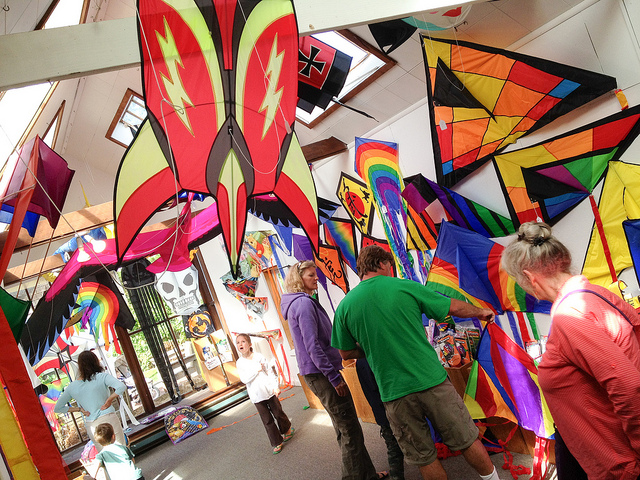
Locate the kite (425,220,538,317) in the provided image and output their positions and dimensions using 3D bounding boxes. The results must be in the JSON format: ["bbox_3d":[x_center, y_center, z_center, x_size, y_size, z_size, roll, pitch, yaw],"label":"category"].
[{"bbox_3d":[1.092,0.234,3.218,0.558,0.718,0.237,-9,16,33],"label":"kite"}]

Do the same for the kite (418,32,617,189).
[{"bbox_3d":[1.444,-0.953,3.231,1.248,1.118,0.077,-21,26,41],"label":"kite"}]

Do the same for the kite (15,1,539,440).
[{"bbox_3d":[-1.558,0.376,6.304,5.927,4.543,0.148,-6,-9,4],"label":"kite"}]

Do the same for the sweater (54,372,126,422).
[{"bbox_3d":[-2.626,1.809,5.249,0.808,0.548,0.295,-13,11,-11],"label":"sweater"}]

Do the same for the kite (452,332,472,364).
[{"bbox_3d":[1.083,0.838,3.463,0.030,0.240,0.125,12,-35,-28],"label":"kite"}]

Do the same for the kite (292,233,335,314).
[{"bbox_3d":[-0.091,0.471,5.876,0.339,1.163,0.378,-11,8,11],"label":"kite"}]

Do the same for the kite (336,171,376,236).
[{"bbox_3d":[0.385,-0.404,4.977,0.011,0.570,0.785,-6,-18,31],"label":"kite"}]

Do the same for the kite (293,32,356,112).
[{"bbox_3d":[-0.082,-1.700,4.408,0.724,0.544,0.030,10,12,-39],"label":"kite"}]

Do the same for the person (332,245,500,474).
[{"bbox_3d":[0.524,0.697,2.623,0.843,1.159,0.280,-22,-9,9],"label":"person"}]

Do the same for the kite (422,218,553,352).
[{"bbox_3d":[1.212,0.272,3.319,1.062,0.837,0.316,-31,2,37],"label":"kite"}]

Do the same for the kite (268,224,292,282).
[{"bbox_3d":[-0.556,0.141,6.355,0.103,0.517,1.018,-44,-13,-10],"label":"kite"}]

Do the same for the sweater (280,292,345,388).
[{"bbox_3d":[-0.077,0.685,3.611,0.466,0.807,0.952,-9,-11,-6],"label":"sweater"}]

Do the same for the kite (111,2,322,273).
[{"bbox_3d":[-0.636,-0.542,2.793,1.259,1.118,0.937,-18,-10,-18],"label":"kite"}]

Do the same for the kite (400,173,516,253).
[{"bbox_3d":[1.120,-0.230,3.601,0.478,0.485,0.288,12,-35,-12],"label":"kite"}]

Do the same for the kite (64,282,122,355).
[{"bbox_3d":[-3.252,1.040,6.404,0.216,0.891,0.885,-34,34,0],"label":"kite"}]

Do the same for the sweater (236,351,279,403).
[{"bbox_3d":[-0.666,1.459,4.859,0.336,0.364,0.476,-18,-10,-17],"label":"sweater"}]

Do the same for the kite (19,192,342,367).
[{"bbox_3d":[-1.783,0.516,5.520,2.351,0.780,1.112,-19,-18,-13],"label":"kite"}]

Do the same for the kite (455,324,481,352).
[{"bbox_3d":[1.122,0.753,3.449,0.046,0.203,0.190,11,-7,-36],"label":"kite"}]

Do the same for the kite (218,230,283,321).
[{"bbox_3d":[-0.939,0.330,6.992,0.685,1.209,0.879,-27,-10,15],"label":"kite"}]
